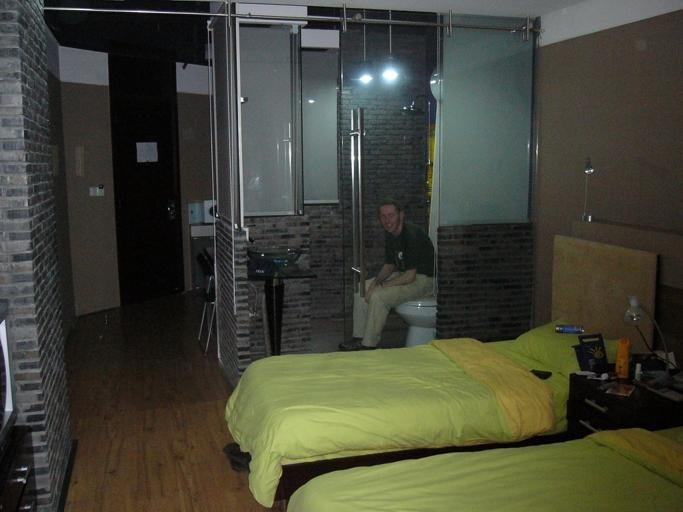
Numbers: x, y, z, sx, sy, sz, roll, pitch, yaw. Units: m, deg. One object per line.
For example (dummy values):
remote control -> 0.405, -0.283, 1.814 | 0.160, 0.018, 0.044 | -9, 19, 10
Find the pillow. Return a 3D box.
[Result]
pillow -> 1.492, 0.695, 4.017 | 0.417, 0.122, 0.444 | -16, 12, 9

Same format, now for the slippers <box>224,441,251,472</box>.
slippers -> -0.726, 1.393, 3.836 | 0.126, 0.045, 0.198 | -1, 20, -21

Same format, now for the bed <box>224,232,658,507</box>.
bed -> 0.592, 0.732, 3.886 | 2.529, 1.386, 1.565 | -2, 11, -9

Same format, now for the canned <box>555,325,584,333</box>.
canned -> 1.666, 0.541, 4.049 | 0.213, 0.071, 0.072 | 1, -26, 25

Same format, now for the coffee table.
coffee table -> -0.664, 0.404, 5.094 | 0.708, 1.072, 0.715 | -3, 11, -19

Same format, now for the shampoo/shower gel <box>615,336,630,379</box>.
shampoo/shower gel -> 1.846, 0.680, 3.634 | 0.087, 0.254, 0.216 | 1, 8, 11

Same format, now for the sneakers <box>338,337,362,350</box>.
sneakers -> 0.086, 0.797, 5.030 | 0.176, 0.078, 0.092 | 1, 5, -15

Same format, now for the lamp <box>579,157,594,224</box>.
lamp -> 1.983, -0.529, 4.445 | 0.086, 0.495, 0.231 | 4, 12, 23
